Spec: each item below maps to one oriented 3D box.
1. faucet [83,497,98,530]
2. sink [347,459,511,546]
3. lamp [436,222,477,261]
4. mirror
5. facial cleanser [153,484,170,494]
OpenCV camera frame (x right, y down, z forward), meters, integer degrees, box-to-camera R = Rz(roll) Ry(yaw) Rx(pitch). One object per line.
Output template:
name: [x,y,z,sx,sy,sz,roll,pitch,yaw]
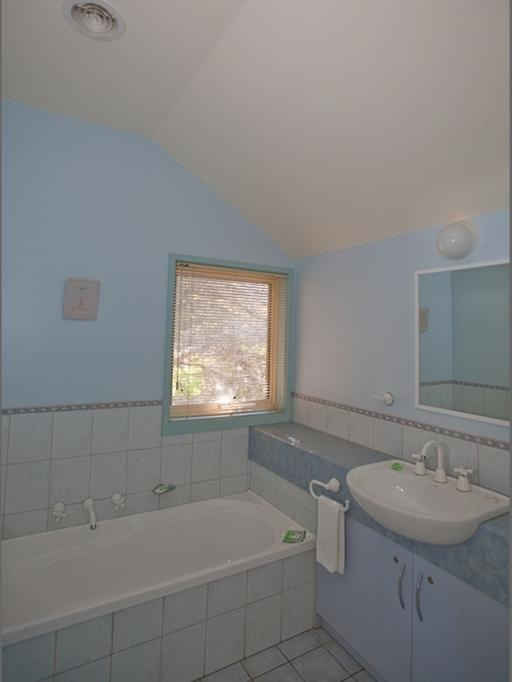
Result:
faucet: [-0.875,0.903,2.697,0.056,0.183,0.068,-1,-13,-39]
sink: [0.645,0.635,2.052,0.472,0.144,0.672,-2,6,-30]
lamp: [0.829,-0.417,2.079,0.151,0.155,0.094,16,7,32]
mirror: [0.922,-0.005,2.222,0.132,0.663,0.553,-1,5,-25]
facial cleanser: [-0.555,0.854,2.931,0.049,0.025,0.085,10,13,35]
